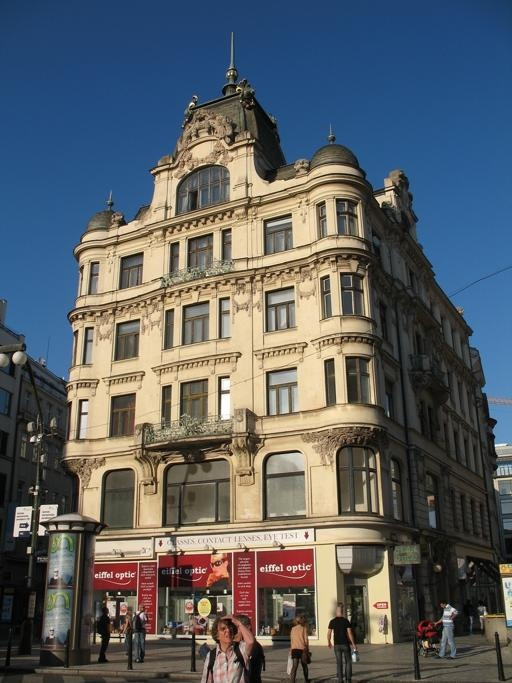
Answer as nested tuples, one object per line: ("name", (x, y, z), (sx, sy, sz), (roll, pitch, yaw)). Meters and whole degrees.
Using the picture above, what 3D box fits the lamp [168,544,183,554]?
("lamp", (-3.799, 9.786, 31.741), (0.857, 0.433, 0.202), (-15, -27, 33))

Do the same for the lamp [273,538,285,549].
("lamp", (0.950, 8.752, 29.162), (0.472, 0.389, 0.169), (-9, -24, 20))
